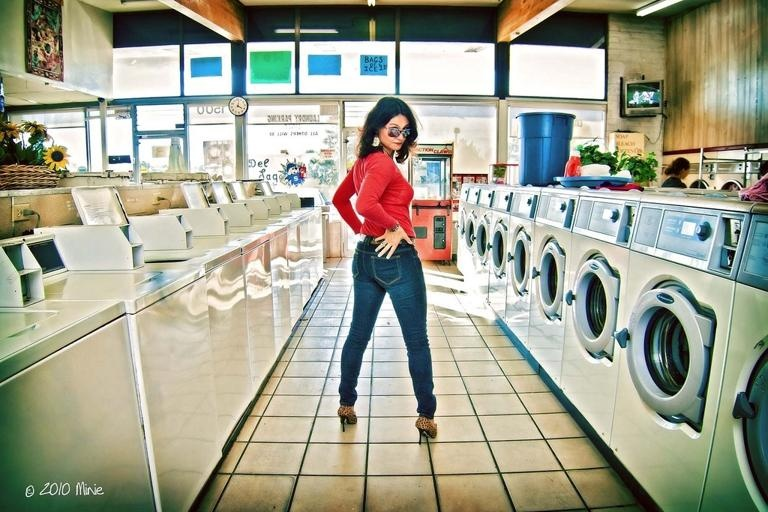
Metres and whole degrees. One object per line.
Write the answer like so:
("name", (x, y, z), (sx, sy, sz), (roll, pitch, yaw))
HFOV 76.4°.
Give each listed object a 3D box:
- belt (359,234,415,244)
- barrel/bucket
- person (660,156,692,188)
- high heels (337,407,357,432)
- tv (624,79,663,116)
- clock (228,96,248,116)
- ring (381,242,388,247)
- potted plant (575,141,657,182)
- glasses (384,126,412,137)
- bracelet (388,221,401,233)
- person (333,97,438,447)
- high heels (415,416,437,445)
("belt", (-0.001, -0.092, 2.762), (0.319, 0.054, 0.104), (2, 15, 8))
("barrel/bucket", (1.389, -0.909, 4.374), (0.623, 0.695, 0.627), (1, 3, 0))
("person", (3.462, -1.000, 5.792), (0.208, 0.325, 1.237), (8, 17, 29))
("high heels", (-0.234, 1.007, 3.010), (0.069, 0.103, 0.205), (0, 2, 7))
("tv", (4.118, -2.544, 7.788), (0.578, 0.473, 0.330), (0, 5, 7))
("clock", (-2.285, -2.366, 7.755), (0.296, 0.284, 0.290), (0, -1, -1))
("ring", (-0.001, -0.066, 2.702), (0.042, 0.031, 0.009), (4, 16, 15))
("potted plant", (1.969, -0.761, 4.141), (0.986, 0.347, 0.500), (-14, 20, -42))
("glasses", (0.081, -0.694, 2.731), (0.132, 0.049, 0.035), (-8, 17, -27))
("bracelet", (0.058, -0.159, 2.680), (0.090, 0.050, 0.037), (-11, 18, -36))
("person", (0.002, 0.090, 2.922), (0.708, 1.991, 0.513), (4, 16, 16))
("high heels", (0.255, 1.050, 2.953), (0.071, 0.117, 0.219), (-2, -1, 26))
